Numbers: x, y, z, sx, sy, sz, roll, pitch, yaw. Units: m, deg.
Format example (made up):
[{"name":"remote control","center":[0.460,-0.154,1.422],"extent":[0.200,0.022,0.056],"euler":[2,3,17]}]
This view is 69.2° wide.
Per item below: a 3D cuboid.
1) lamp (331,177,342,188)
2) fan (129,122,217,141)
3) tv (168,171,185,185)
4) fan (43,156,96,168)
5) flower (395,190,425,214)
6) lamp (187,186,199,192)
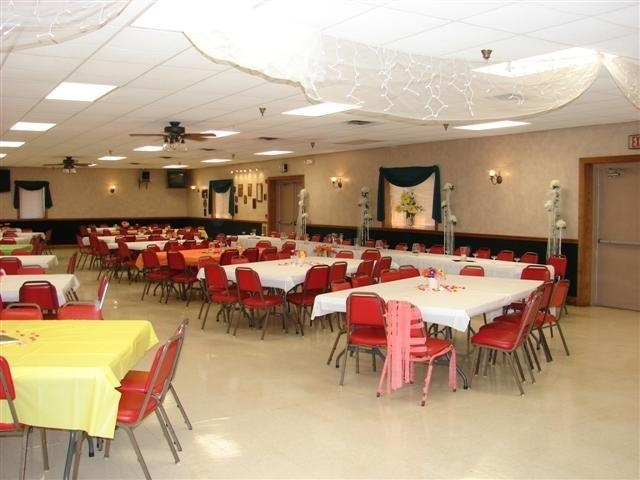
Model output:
[{"name":"lamp","center":[0.488,-1.736,14.065],"extent":[0.089,0.360,0.475],"euler":[-3,3,-38]},{"name":"fan","center":[-2.861,-2.166,9.109],"extent":[0.834,0.248,0.843],"euler":[-1,-1,36]},{"name":"tv","center":[-6.616,-2.863,21.277],"extent":[0.680,0.595,0.338],"euler":[-1,2,-34]},{"name":"fan","center":[-8.656,-2.728,16.049],"extent":[0.678,0.221,0.680],"euler":[0,0,27]},{"name":"flower","center":[2.131,-0.906,11.492],"extent":[0.717,0.700,0.716],"euler":[1,1,29]},{"name":"lamp","center":[-5.801,-2.370,21.373],"extent":[0.300,0.304,0.461],"euler":[2,3,26]}]
